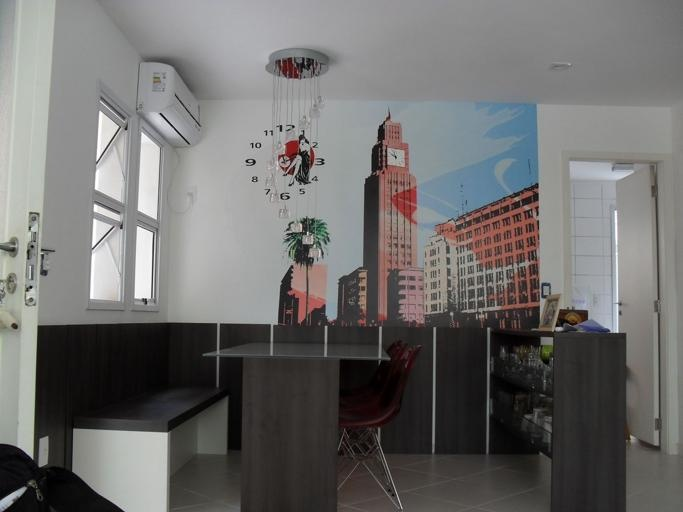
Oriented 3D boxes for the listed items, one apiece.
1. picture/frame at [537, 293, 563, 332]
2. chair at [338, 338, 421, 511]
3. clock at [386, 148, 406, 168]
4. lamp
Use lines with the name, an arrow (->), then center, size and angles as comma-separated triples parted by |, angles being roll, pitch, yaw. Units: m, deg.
picture/frame -> 1.706, 0.472, 4.646 | 0.021, 0.318, 0.301 | 17, -7, 0
chair -> 0.270, 1.234, 4.531 | 0.916, 1.415, 1.060 | 2, -6, -3
clock -> 0.516, -0.984, 5.669 | 0.165, 0.196, 0.018 | 1, -3, -2
lamp -> -0.425, -0.834, 5.334 | 0.629, 1.758, 0.816 | -1, -6, -9
